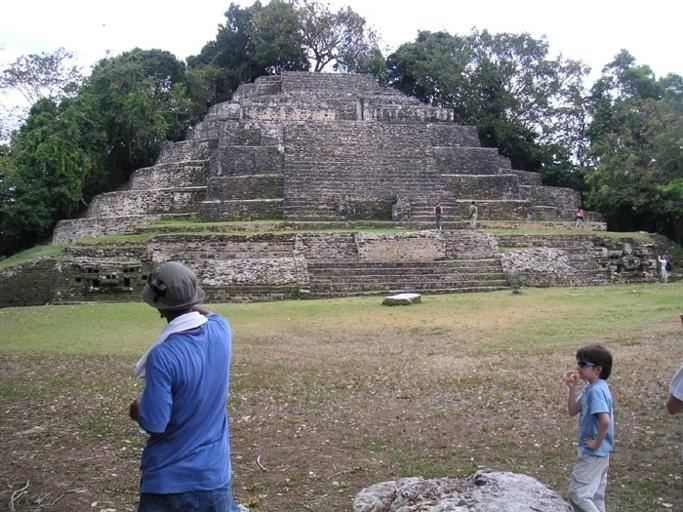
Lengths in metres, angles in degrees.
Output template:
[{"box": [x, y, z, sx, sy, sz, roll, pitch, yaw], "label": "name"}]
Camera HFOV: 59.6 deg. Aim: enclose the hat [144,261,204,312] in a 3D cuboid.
[{"box": [-1.556, 0.290, 5.665, 0.515, 0.228, 0.520, 14, 15, 28], "label": "hat"}]
